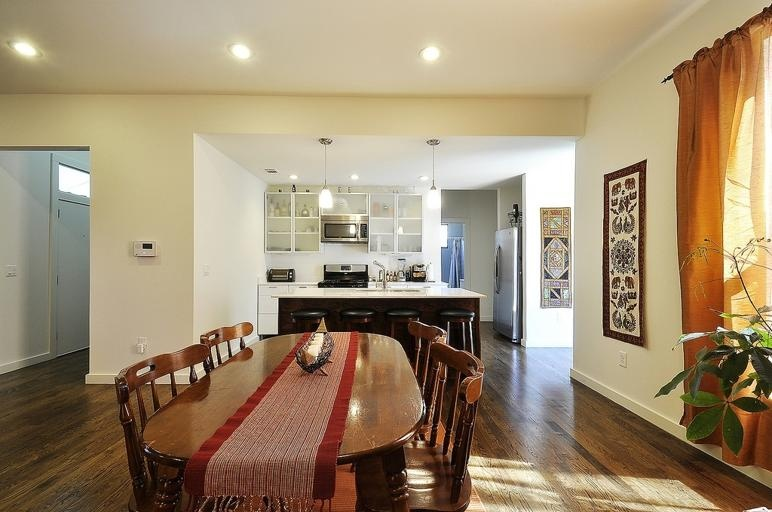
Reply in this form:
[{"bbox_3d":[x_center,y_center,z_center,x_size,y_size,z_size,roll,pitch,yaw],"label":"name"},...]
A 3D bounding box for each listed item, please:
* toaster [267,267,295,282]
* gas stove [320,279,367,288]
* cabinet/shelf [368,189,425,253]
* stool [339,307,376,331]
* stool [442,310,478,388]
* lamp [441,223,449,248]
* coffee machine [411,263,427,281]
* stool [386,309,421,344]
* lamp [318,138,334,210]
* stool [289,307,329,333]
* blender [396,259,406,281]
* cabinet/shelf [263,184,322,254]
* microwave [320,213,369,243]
[{"bbox_3d":[-1.721,0.326,8.122,0.470,0.244,0.446,0,-3,-13],"label":"toaster"},{"bbox_3d":[-0.691,0.461,8.119,0.820,0.110,0.383,0,-3,-6],"label":"gas stove"},{"bbox_3d":[0.162,-0.584,8.341,1.100,1.208,0.402,0,-2,-7],"label":"cabinet/shelf"},{"bbox_3d":[-0.326,0.741,5.963,0.331,0.363,0.334,0,-4,-6],"label":"stool"},{"bbox_3d":[0.892,0.983,5.989,0.424,0.568,0.404,6,-6,-33],"label":"stool"},{"bbox_3d":[1.116,-0.372,9.384,0.115,0.427,0.088,0,-2,-4],"label":"lamp"},{"bbox_3d":[0.553,0.291,8.339,0.284,0.286,0.201,-1,-2,2],"label":"coffee machine"},{"bbox_3d":[0.249,0.846,6.115,0.420,0.570,0.427,-1,0,7],"label":"stool"},{"bbox_3d":[-0.750,-1.016,6.119,0.200,0.845,0.197,-5,12,-30],"label":"lamp"},{"bbox_3d":[-0.891,0.765,5.947,0.457,0.479,0.450,0,-2,-8],"label":"stool"},{"bbox_3d":[0.275,0.230,8.455,0.155,0.367,0.162,-1,-2,1],"label":"blender"},{"bbox_3d":[-1.531,-0.535,8.186,0.865,0.911,0.303,1,1,-11],"label":"cabinet/shelf"},{"bbox_3d":[-0.682,-0.321,8.266,0.709,0.437,0.449,0,-5,-6],"label":"microwave"}]
